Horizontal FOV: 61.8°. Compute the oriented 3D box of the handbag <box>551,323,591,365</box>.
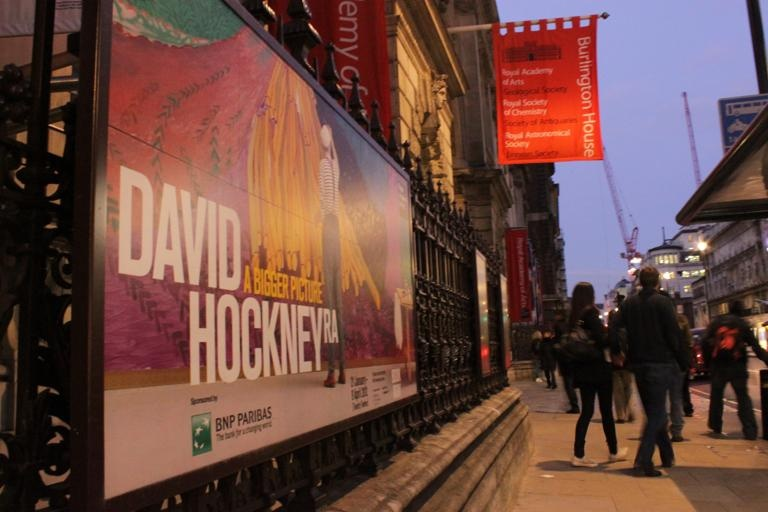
[{"bbox_3d":[2.193,1.004,7.544,0.452,0.472,0.254,1,10,-3],"label":"handbag"}]

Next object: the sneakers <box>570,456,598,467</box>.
[{"bbox_3d":[2.396,2.468,7.756,0.278,0.129,0.124,-1,-5,12],"label":"sneakers"}]

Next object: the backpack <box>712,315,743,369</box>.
[{"bbox_3d":[5.150,1.302,9.708,0.578,0.833,0.463,1,4,25],"label":"backpack"}]
